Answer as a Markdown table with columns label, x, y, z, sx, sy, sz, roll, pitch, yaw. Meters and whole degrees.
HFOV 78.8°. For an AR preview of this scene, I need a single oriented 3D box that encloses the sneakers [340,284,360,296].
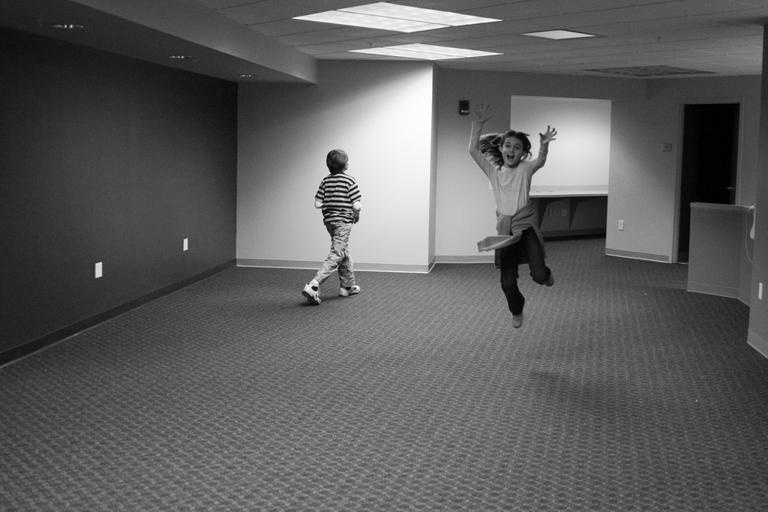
| label | x | y | z | sx | sy | sz | roll | pitch | yaw |
| --- | --- | --- | --- | --- | --- | --- | --- | --- | --- |
| sneakers | -0.547 | 0.569 | 7.967 | 0.369 | 0.169 | 0.144 | -14 | 24 | -42 |

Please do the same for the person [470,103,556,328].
| label | x | y | z | sx | sy | sz | roll | pitch | yaw |
| --- | --- | --- | --- | --- | --- | --- | --- | --- | --- |
| person | 1.553 | -0.419 | 5.693 | 1.027 | 2.771 | 0.687 | 5 | 10 | 26 |
